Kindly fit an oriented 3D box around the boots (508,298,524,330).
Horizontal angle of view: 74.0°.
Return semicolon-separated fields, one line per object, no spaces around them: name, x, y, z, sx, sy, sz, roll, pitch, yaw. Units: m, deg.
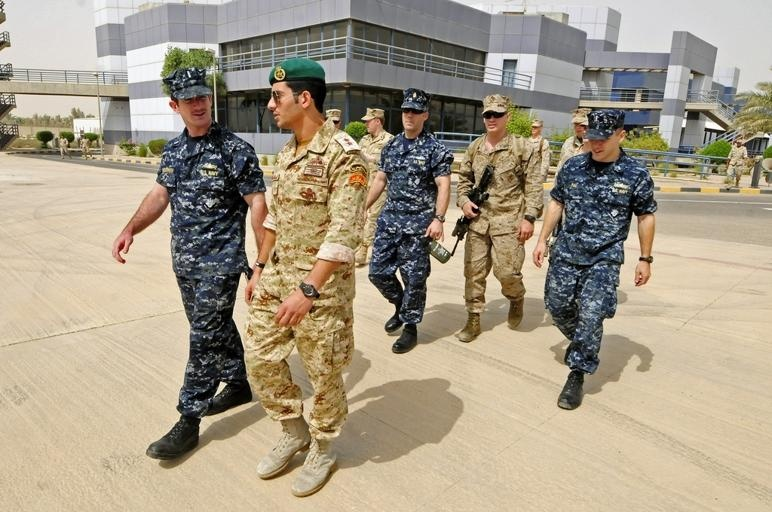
boots;1.485;0.659;5.844;0.141;0.380;0.268;7;0;25

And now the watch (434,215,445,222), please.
watch;0.557;-0.388;5.165;0.080;0.059;0.091;-3;-29;39

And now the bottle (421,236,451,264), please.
bottle;0.528;-0.046;5.237;0.243;0.273;0.272;2;13;1

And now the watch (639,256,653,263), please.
watch;2.326;0.025;4.562;0.090;0.048;0.092;13;20;39

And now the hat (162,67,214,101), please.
hat;-1.559;-1.355;4.012;0.320;0.267;0.354;-4;14;-23

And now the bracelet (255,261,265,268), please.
bracelet;-0.955;0.063;3.898;0.063;0.033;0.061;14;17;0

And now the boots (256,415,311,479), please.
boots;-0.736;1.417;3.753;0.461;0.317;0.173;-37;37;-20

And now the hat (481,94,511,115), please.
hat;1.172;-1.608;5.389;0.261;0.216;0.334;3;13;9

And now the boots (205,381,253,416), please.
boots;-1.337;1.199;4.384;0.437;0.177;0.149;-5;22;-44

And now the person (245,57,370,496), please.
person;-0.586;0.145;3.574;0.801;2.946;0.748;13;18;42

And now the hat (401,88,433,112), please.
hat;0.320;-1.625;5.310;0.256;0.252;0.288;2;13;3

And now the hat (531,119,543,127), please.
hat;2.904;-2.539;9.793;0.169;0.091;0.263;10;22;30

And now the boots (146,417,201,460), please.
boots;-1.577;1.346;3.845;0.180;0.260;0.440;5;0;24

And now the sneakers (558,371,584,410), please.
sneakers;1.655;1.163;4.509;0.173;0.281;0.357;11;16;35

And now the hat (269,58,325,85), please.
hat;-0.594;-1.246;3.425;0.271;0.093;0.219;11;26;14

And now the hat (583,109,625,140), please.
hat;1.916;-1.157;4.476;0.303;0.264;0.319;6;13;19

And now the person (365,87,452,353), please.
person;0.226;-0.192;5.506;0.730;2.238;0.978;-9;17;-39
